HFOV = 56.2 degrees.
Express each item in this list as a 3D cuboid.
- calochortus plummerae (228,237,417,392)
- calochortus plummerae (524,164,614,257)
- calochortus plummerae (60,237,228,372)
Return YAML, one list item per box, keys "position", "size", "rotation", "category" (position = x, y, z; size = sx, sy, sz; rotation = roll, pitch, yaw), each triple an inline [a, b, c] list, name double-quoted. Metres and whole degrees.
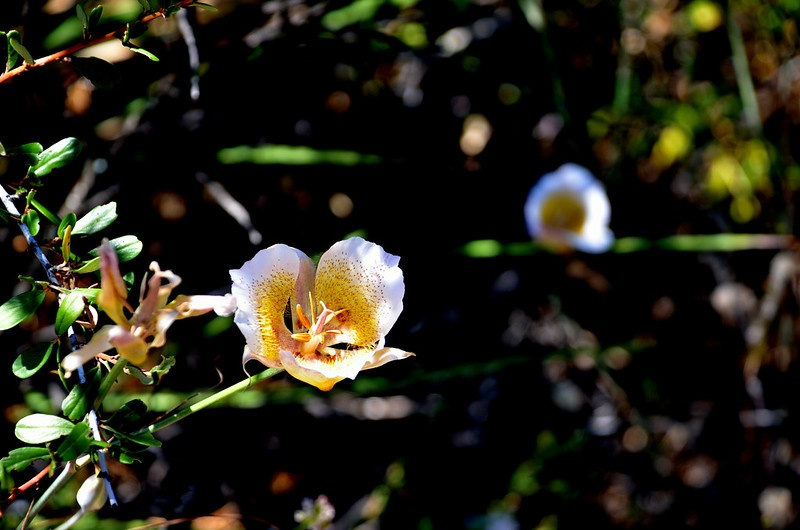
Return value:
- position: [-0.121, 0.079, 1.172]
  size: [0.258, 0.129, 0.225]
  rotation: [-7, 77, -3]
  category: "calochortus plummerae"
- position: [0.307, -0.104, 1.364]
  size: [0.156, 0.034, 0.152]
  rotation: [1, 77, -1]
  category: "calochortus plummerae"
- position: [-0.341, 0.063, 0.972]
  size: [0.167, 0.094, 0.194]
  rotation: [-12, 60, -12]
  category: "calochortus plummerae"
